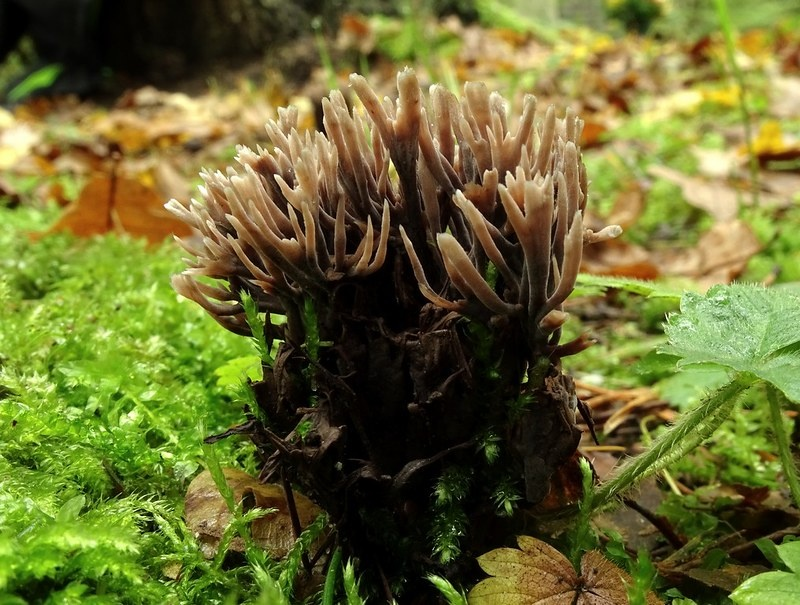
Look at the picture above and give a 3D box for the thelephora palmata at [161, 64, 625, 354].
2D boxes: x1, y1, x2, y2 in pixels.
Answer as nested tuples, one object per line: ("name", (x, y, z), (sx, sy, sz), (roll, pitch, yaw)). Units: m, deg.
("thelephora palmata", (-0.038, -0.206, 2.194), (0.899, 0.585, 0.815), (-27, -9, 32))
